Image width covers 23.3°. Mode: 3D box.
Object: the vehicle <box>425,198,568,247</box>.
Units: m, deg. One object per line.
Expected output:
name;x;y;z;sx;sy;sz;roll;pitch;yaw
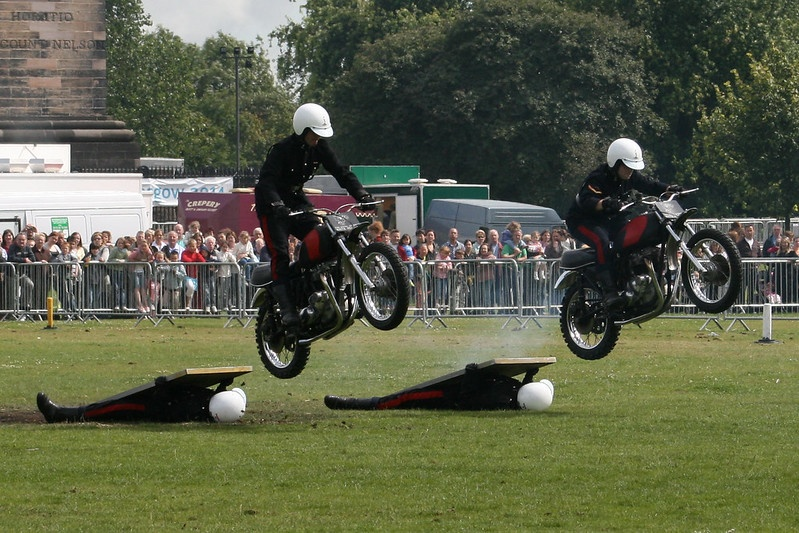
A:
vehicle;2.696;-1.668;64.834;2.146;1.392;3.012;-1;2;-43

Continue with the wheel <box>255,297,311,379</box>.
wheel;-2.694;1.575;45.204;1.922;1.790;0.721;13;18;42

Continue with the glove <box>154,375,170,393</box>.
glove;-5.339;2.616;43.597;0.326;0.329;0.309;1;17;5

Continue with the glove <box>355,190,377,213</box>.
glove;-0.716;-1.527;44.431;0.227;0.443;0.347;-11;-21;-46

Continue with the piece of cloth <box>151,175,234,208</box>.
piece of cloth;-7.822;-2.835;71.757;3.097;1.104;1.089;0;-1;-27

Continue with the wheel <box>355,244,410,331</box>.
wheel;-0.404;0.412;44.190;1.227;1.951;0.555;-1;-1;6

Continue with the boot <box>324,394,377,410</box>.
boot;-1.133;3.073;44.701;1.413;0.357;0.381;6;5;8
